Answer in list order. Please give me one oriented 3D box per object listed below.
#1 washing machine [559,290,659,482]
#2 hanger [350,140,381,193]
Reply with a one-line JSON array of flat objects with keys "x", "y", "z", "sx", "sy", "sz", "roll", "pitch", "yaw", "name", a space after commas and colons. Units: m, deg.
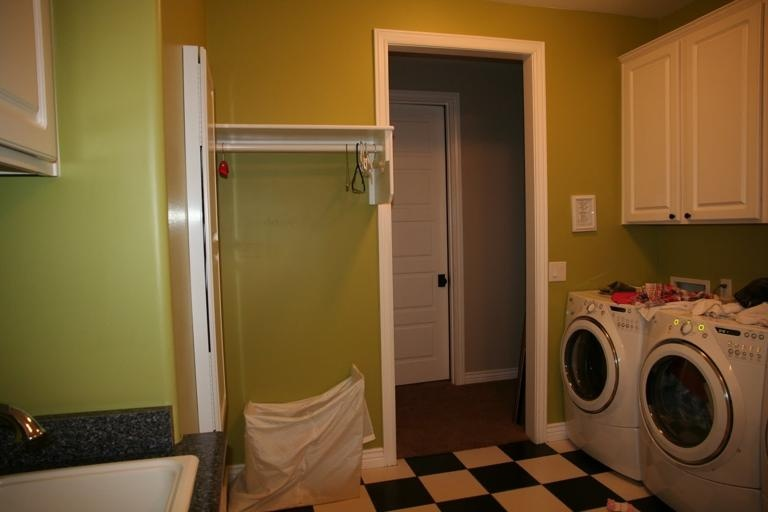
[{"x": 1.546, "y": 0.806, "z": 3.885, "sx": 0.552, "sy": 1.100, "sz": 0.652, "roll": -2, "pitch": 6, "yaw": -19, "name": "washing machine"}, {"x": -0.104, "y": -0.562, "z": 3.627, "sx": 0.193, "sy": 0.325, "sz": 0.093, "roll": 4, "pitch": 9, "yaw": -8, "name": "hanger"}]
